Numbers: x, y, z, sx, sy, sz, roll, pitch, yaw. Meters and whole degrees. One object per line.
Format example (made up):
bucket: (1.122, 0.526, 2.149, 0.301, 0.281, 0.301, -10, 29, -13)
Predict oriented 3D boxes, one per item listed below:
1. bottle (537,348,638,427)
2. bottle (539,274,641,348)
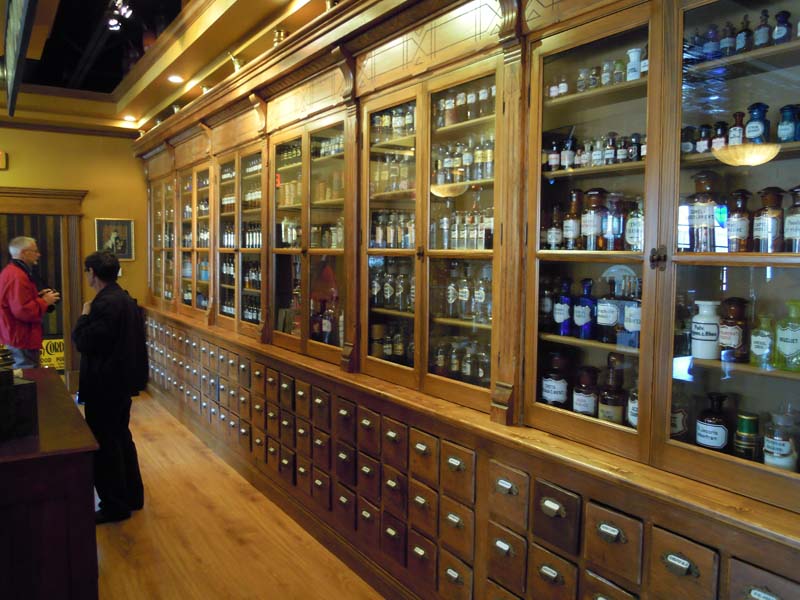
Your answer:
bottle: (0.890, 0.411, 2.897, 0.130, 0.354, 0.368, 1, 2, -43)
bottle: (0.899, 0.047, 2.887, 0.102, 0.230, 0.315, -5, 7, -39)
